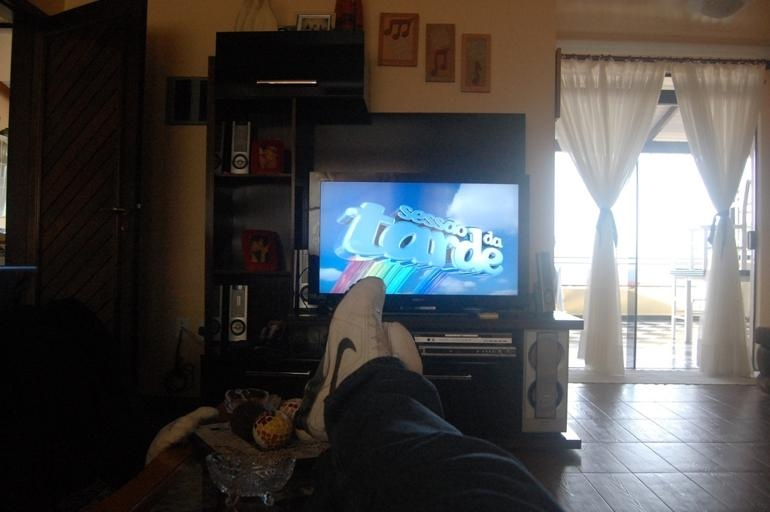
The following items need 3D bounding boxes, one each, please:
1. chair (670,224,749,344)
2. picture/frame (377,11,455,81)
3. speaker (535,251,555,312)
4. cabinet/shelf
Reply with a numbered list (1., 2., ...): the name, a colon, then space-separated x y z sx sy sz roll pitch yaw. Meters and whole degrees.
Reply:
1. chair: 2.901 0.270 6.244 0.463 1.265 0.846 2 1 -14
2. picture/frame: 0.208 -1.507 4.846 0.483 0.353 0.025 2 -2 -6
3. speaker: 1.090 0.170 4.558 0.153 0.462 0.119 -2 18 10
4. cabinet/shelf: -0.011 -0.094 4.375 2.796 2.996 0.877 0 -2 -1
